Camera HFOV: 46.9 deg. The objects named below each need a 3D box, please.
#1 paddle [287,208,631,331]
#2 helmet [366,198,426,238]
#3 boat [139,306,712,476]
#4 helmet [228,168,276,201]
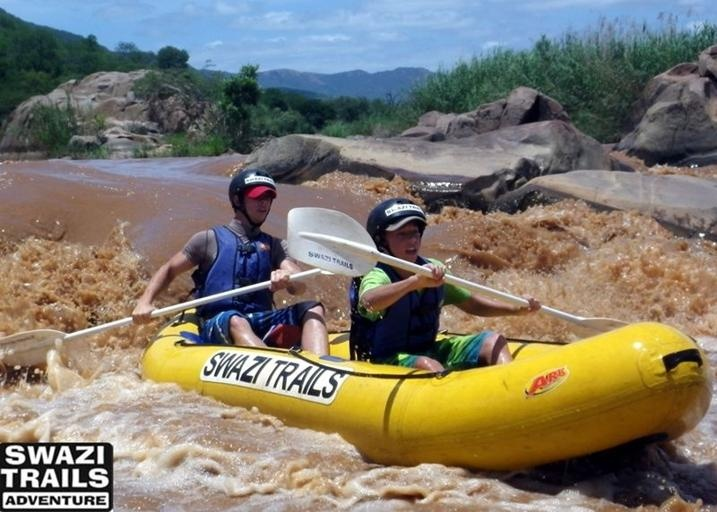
[{"bbox_3d":[1.173,0.187,9.086,4.412,0.961,0.377,16,-1,16],"label":"paddle"},{"bbox_3d":[0.343,-0.365,7.398,0.437,0.337,0.665,-6,-8,-28],"label":"helmet"},{"bbox_3d":[0.632,1.146,6.885,3.358,0.791,1.681,1,-1,34],"label":"boat"},{"bbox_3d":[-1.063,-0.732,8.283,0.358,0.292,0.285,12,-8,3],"label":"helmet"}]
